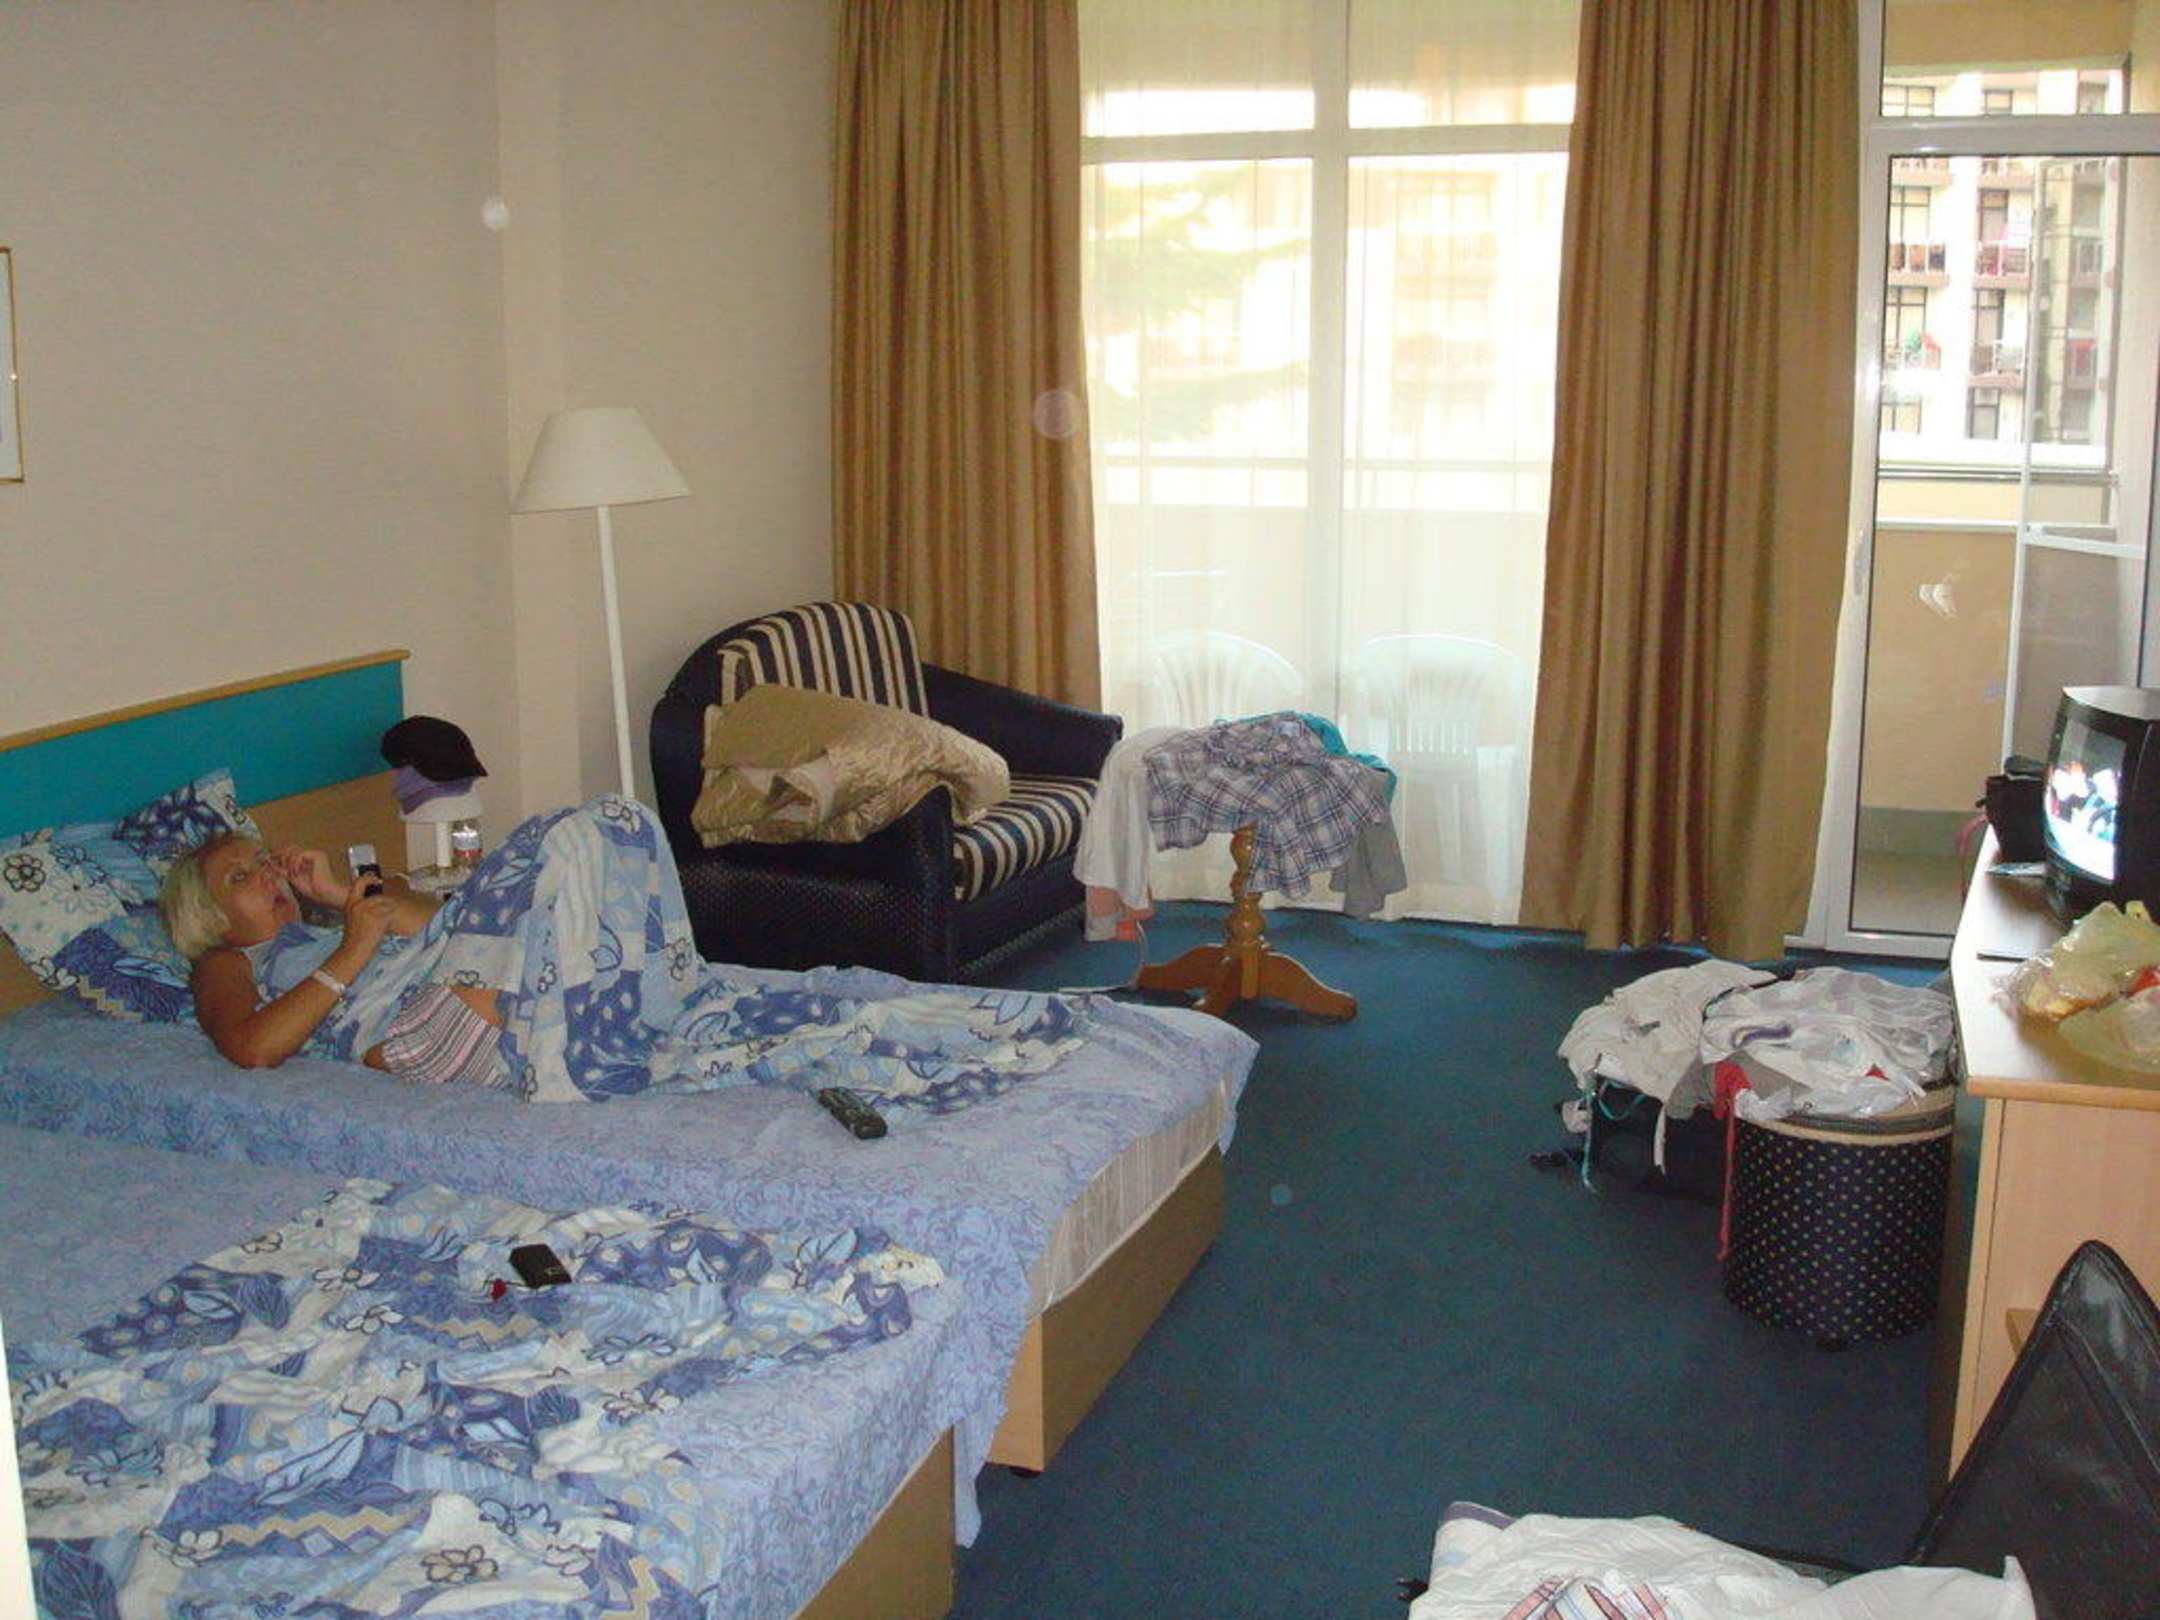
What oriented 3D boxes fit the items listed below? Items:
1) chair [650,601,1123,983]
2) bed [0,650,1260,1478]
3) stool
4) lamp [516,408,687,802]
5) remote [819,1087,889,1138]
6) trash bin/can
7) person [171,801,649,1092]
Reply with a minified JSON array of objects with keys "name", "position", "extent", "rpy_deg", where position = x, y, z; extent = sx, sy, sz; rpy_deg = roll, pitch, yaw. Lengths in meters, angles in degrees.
[{"name":"chair","position":[-0.587,-0.120,5.567],"extent":[1.116,1.138,1.585],"rpy_deg":[3,12,16]},{"name":"bed","position":[-0.856,0.416,3.191],"extent":[1.742,0.461,1.180],"rpy_deg":[5,15,17]},{"name":"stool","position":[0.543,0.250,5.248],"extent":[0.541,0.728,0.555],"rpy_deg":[-7,-20,29]},{"name":"lamp","position":[-1.247,-0.338,4.532],"extent":[0.442,1.400,0.451],"rpy_deg":[-5,4,-12]},{"name":"remote","position":[-0.427,0.567,3.180],"extent":[0.054,0.056,0.194],"rpy_deg":[-50,34,-13]},{"name":"trash bin/can","position":[1.548,0.819,3.469],"extent":[0.360,0.426,0.368],"rpy_deg":[-2,-1,-21]},{"name":"person","position":[-1.410,0.302,3.554],"extent":[0.893,0.442,0.573],"rpy_deg":[-3,5,10]}]
